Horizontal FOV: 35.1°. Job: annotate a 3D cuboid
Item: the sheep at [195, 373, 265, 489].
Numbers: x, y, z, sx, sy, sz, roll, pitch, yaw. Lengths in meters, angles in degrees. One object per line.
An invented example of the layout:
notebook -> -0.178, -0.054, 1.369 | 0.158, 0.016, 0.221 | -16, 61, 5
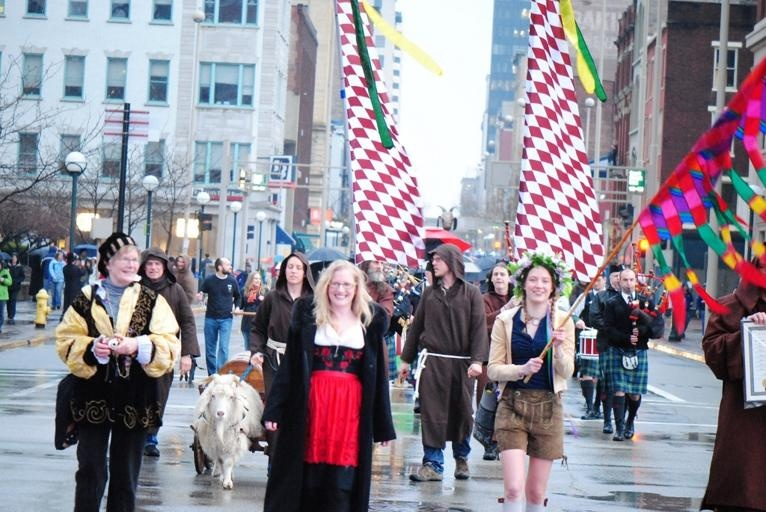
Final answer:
sheep -> -2.178, 2.521, 17.363 | 0.948, 1.589, 0.752 | 3, -4, -14

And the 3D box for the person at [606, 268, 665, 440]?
person -> 4.230, 1.715, 20.714 | 0.908, 2.939, 0.502 | 2, -4, 12

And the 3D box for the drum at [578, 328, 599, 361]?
drum -> 3.598, 1.602, 21.499 | 0.482, 0.486, 0.481 | 1, -5, -11

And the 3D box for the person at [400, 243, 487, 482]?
person -> 0.951, 1.592, 17.945 | 1.220, 3.492, 0.669 | 2, -4, 4

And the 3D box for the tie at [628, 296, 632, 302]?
tie -> 4.212, 0.757, 20.688 | 0.083, 0.048, 0.060 | 5, 31, 4

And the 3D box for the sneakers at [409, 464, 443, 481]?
sneakers -> 0.680, 3.229, 17.804 | 0.544, 0.249, 0.199 | 5, -9, -17

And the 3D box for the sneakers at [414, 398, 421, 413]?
sneakers -> 0.568, 2.265, 18.054 | 0.071, 0.194, 0.147 | 5, -4, -31

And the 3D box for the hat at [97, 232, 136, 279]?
hat -> -3.473, -0.077, 15.674 | 0.194, 0.582, 0.585 | 43, 24, 15

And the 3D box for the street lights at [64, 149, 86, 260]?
street lights -> -7.996, -1.138, 31.672 | 0.583, 3.037, 0.561 | 2, -5, -10
